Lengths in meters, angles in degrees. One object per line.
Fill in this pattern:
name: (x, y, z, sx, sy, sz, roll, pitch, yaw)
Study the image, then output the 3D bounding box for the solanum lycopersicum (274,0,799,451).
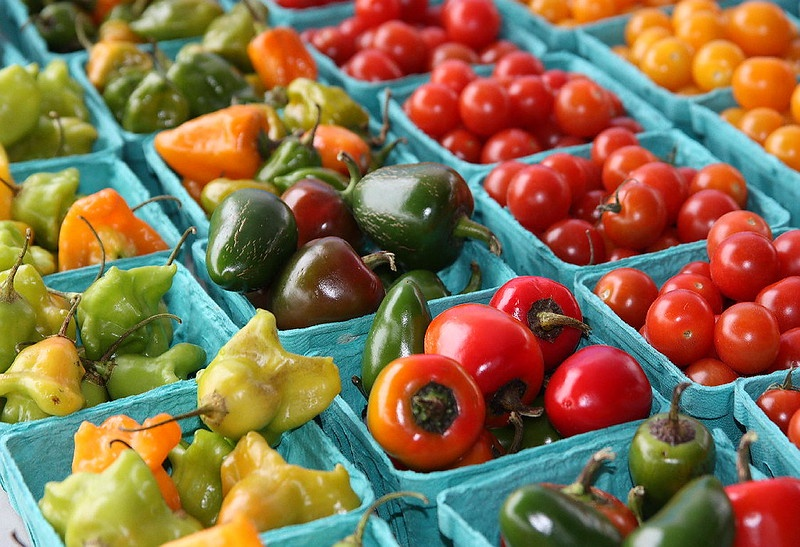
solanum lycopersicum: (0.688, -0.086, 2.402, 0.892, 0.250, 0.937, -30, 65, -31)
